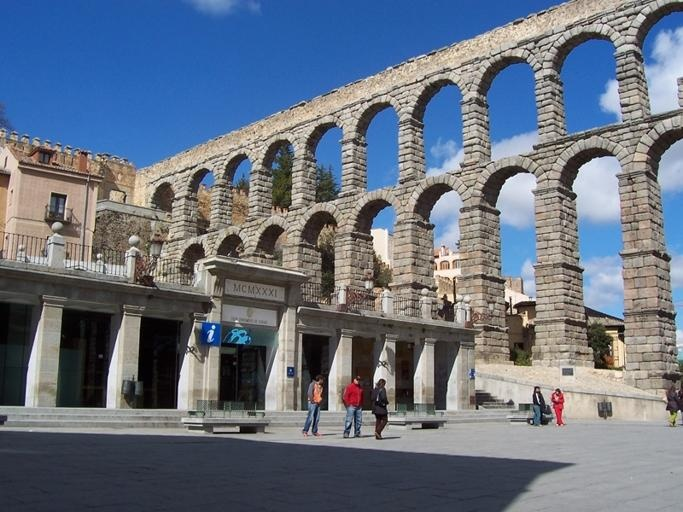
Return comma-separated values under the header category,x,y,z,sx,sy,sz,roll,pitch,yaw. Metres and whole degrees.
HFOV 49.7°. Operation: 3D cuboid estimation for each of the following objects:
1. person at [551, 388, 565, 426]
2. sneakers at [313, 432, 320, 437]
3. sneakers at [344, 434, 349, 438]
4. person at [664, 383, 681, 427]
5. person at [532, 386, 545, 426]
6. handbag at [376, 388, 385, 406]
category,x,y,z,sx,sy,sz,roll,pitch,yaw
person,8.242,5.750,28.110,0.402,1.532,1.812,-3,-16,15
sneakers,-0.693,5.078,20.894,0.076,0.103,0.234,9,-28,-15
sneakers,0.158,5.070,20.657,0.121,0.099,0.128,11,-22,-15
person,12.176,5.499,26.971,0.445,1.522,1.242,-5,-17,24
person,7.382,5.630,27.707,0.409,1.535,0.984,-4,-17,20
handbag,1.142,3.897,20.254,0.376,0.448,0.228,14,-20,-39
